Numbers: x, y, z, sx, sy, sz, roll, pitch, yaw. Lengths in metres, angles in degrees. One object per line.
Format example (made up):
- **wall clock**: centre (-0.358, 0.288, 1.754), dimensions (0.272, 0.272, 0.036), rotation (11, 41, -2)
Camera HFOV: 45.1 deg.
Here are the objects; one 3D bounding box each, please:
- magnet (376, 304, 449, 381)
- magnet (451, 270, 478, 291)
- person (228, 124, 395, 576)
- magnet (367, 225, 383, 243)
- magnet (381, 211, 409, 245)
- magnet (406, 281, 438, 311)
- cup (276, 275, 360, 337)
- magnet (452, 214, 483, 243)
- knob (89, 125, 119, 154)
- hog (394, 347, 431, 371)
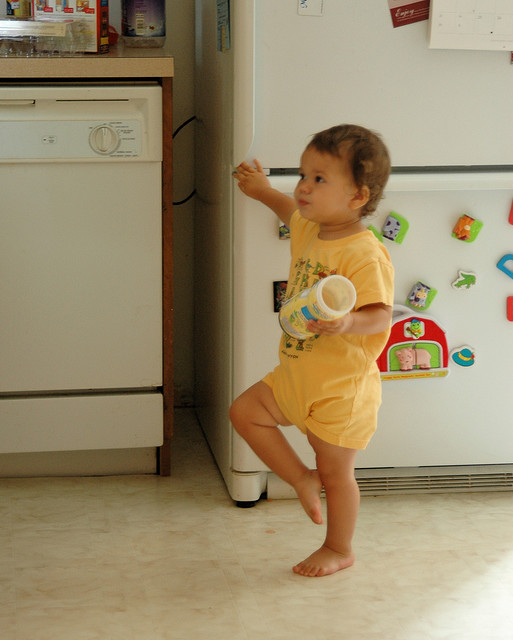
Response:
- **magnet**: centre (0.303, 0.039, 1.211), dimensions (0.177, 0.158, 0.073), rotation (-2, 10, -8)
- **magnet**: centre (0.426, -0.080, 1.261), dimensions (0.052, 0.040, 0.009), rotation (23, 5, -13)
- **person**: centre (0.084, 0.051, 1.066), dimensions (0.236, 0.740, 0.425), rotation (-2, 19, -14)
- **magnet**: centre (0.234, -0.168, 1.208), dimensions (0.031, 0.032, 0.023), rotation (6, 19, 9)
- **magnet**: centre (0.273, -0.181, 1.213), dimensions (0.059, 0.050, 0.014), rotation (23, 10, -7)
- **magnet**: centre (0.333, -0.048, 1.245), dimensions (0.058, 0.054, 0.013), rotation (31, 10, -11)
- **cup**: centre (0.094, -0.019, 0.886), dimensions (0.049, 0.041, 0.105), rotation (6, -18, -25)
- **magnet**: centre (0.421, -0.182, 1.234), dimensions (0.056, 0.054, 0.011), rotation (-1, 20, -13)
- **knob**: centre (-0.303, -0.358, 1.224), dimensions (0.060, 0.050, 0.018), rotation (2, 3, -4)
- **hog**: centre (0.323, 0.081, 1.258), dimensions (0.098, 0.057, 0.034), rotation (-3, 7, -12)
